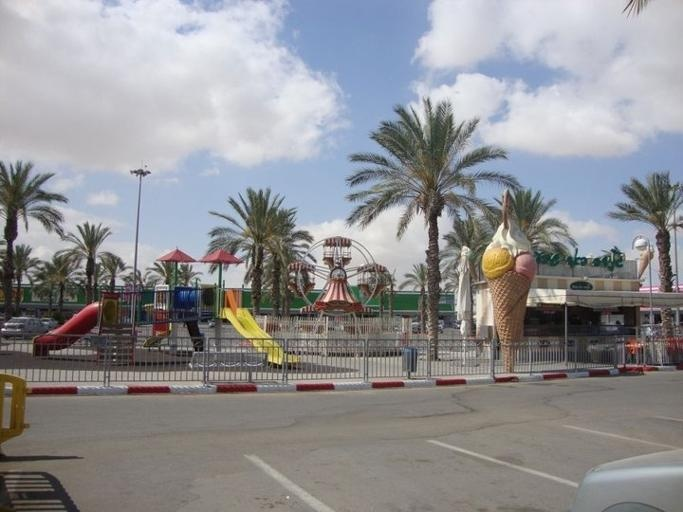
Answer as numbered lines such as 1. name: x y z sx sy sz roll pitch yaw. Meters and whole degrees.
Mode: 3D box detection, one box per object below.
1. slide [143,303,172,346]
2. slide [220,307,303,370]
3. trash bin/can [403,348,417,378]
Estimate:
1. slide: -7.124 2.918 24.978 1.040 1.890 0.962 0 -10 -15
2. slide: -3.261 2.886 24.538 2.332 2.490 8.797 0 -8 -12
3. trash bin/can: 2.281 3.495 21.449 0.493 1.012 0.581 -2 -7 5
